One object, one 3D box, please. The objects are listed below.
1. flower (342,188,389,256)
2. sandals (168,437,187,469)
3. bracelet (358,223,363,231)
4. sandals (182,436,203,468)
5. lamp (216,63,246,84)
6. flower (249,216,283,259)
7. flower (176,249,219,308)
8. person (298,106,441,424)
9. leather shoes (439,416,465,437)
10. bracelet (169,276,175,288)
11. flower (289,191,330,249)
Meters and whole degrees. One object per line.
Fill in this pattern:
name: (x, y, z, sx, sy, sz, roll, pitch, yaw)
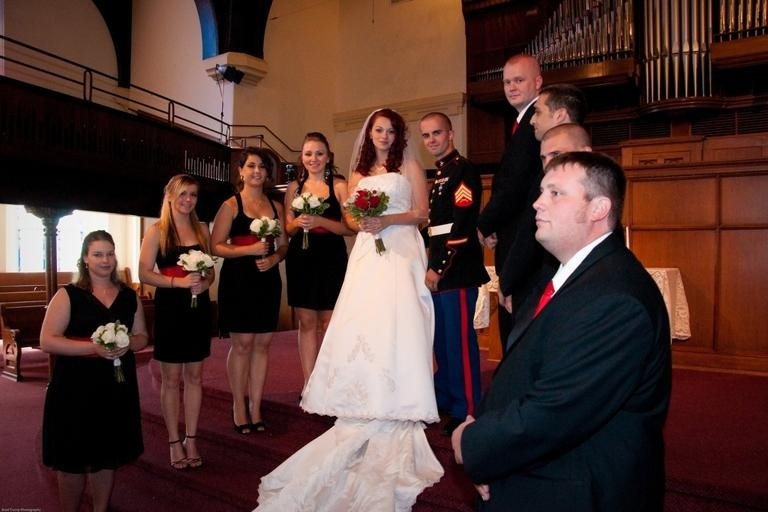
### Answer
flower: (-0.091, -0.276, 5.429, 0.400, 0.503, 0.424, -9, -4, -24)
sandals: (-1.892, 1.829, 5.640, 0.116, 0.143, 0.350, 3, -5, -26)
bracelet: (-0.210, -0.256, 5.411, 0.046, 0.056, 0.054, 2, 6, 10)
sandals: (-1.771, 1.799, 5.671, 0.128, 0.161, 0.374, 6, 19, -41)
lamp: (-3.604, -4.245, 14.413, 0.641, 0.455, 0.441, 2, -1, -16)
flower: (-1.163, -0.187, 6.022, 0.306, 0.409, 0.386, 6, 7, 39)
flower: (-1.731, 0.239, 5.554, 0.277, 0.467, 0.303, -7, -8, 25)
person: (-0.030, 0.034, 5.385, 1.088, 2.510, 0.682, 2, -1, 4)
leather shoes: (0.506, 1.426, 5.162, 0.347, 0.147, 0.115, 11, -19, -36)
bracelet: (-1.935, 0.241, 5.613, 0.060, 0.112, 0.049, 2, -1, -3)
flower: (-0.729, -0.310, 5.803, 0.388, 0.474, 0.383, -5, -11, 25)
